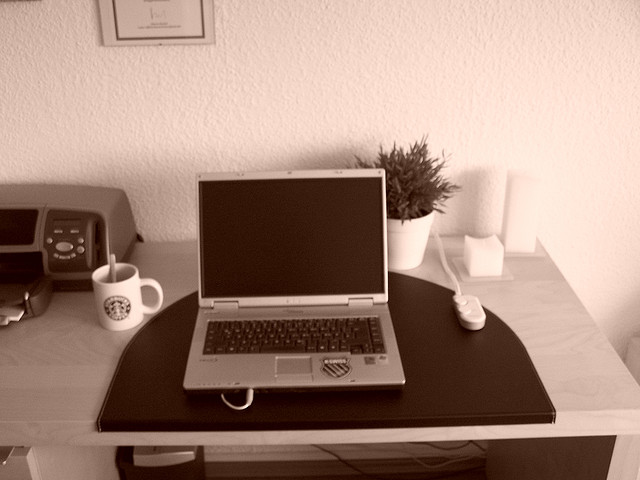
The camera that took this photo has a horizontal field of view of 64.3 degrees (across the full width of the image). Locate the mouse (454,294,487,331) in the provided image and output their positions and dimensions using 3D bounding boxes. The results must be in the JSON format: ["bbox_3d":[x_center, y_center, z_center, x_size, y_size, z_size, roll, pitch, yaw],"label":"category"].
[{"bbox_3d":[0.366,0.175,1.245,0.062,0.028,0.118,-4,28,2],"label":"mouse"}]

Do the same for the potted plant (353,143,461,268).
[{"bbox_3d":[0.192,-0.097,1.541,0.348,0.382,0.335,-3,25,1],"label":"potted plant"}]

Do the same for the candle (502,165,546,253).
[{"bbox_3d":[0.584,-0.082,1.523,0.111,0.247,0.160,3,31,4],"label":"candle"}]

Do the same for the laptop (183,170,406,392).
[{"bbox_3d":[-0.062,0.072,1.142,0.460,0.399,0.353,-1,18,-2],"label":"laptop"}]

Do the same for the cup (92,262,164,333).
[{"bbox_3d":[-0.459,0.143,1.232,0.154,0.127,0.100,-1,17,-21],"label":"cup"}]

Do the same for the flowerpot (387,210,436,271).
[{"bbox_3d":[0.243,0.002,1.470,0.133,0.163,0.152,10,29,7],"label":"flowerpot"}]
